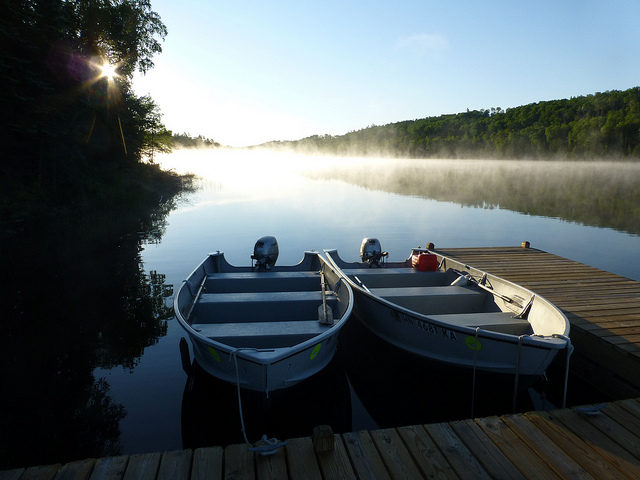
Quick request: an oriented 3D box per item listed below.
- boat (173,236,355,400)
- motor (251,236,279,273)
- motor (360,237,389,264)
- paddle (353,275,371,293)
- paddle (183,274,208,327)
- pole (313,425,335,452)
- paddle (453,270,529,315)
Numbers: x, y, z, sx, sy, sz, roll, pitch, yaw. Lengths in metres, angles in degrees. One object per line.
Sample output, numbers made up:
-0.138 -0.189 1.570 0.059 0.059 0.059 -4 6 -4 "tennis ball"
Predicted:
-1.165 1.381 9.544 3.406 1.729 4.974 -1 16 -19 "boat"
-1.337 0.347 11.420 0.404 0.758 1.498 -1 15 13 "motor"
1.374 0.275 11.889 0.446 0.750 0.696 -1 -7 -2 "motor"
0.894 0.966 10.252 0.082 0.093 0.801 0 31 -17 "paddle"
-2.456 1.224 9.209 0.365 0.178 1.726 6 14 -8 "paddle"
0.045 2.741 6.495 0.266 0.291 0.298 -1 -8 -5 "pole"
3.700 1.127 9.525 0.126 0.232 1.171 41 3 -25 "paddle"
